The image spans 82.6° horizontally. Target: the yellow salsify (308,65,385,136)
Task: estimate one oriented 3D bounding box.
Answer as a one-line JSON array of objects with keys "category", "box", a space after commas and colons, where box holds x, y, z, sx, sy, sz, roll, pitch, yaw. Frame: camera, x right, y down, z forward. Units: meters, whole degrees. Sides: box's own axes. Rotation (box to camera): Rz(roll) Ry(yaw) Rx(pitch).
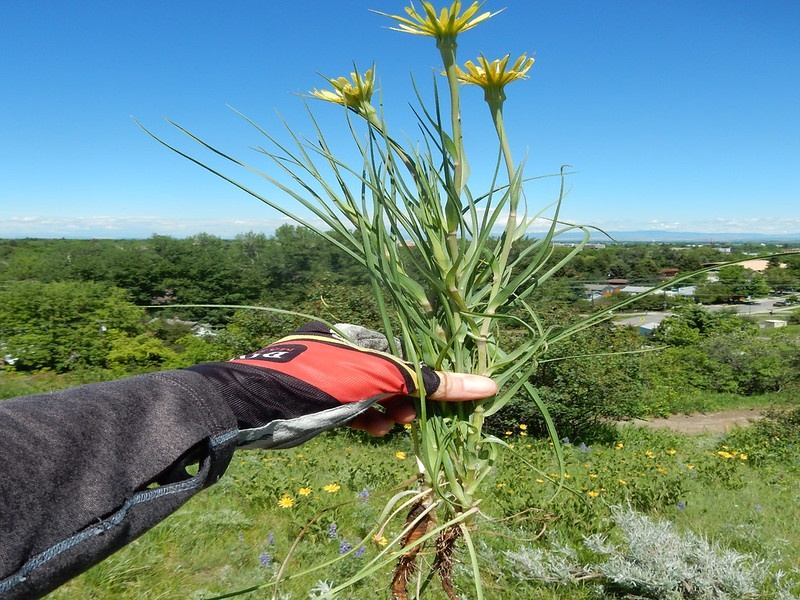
[{"category": "yellow salsify", "box": [-0.154, -0.688, 1.609, 0.298, 0.109, 0.266, -3, 6, 13]}]
